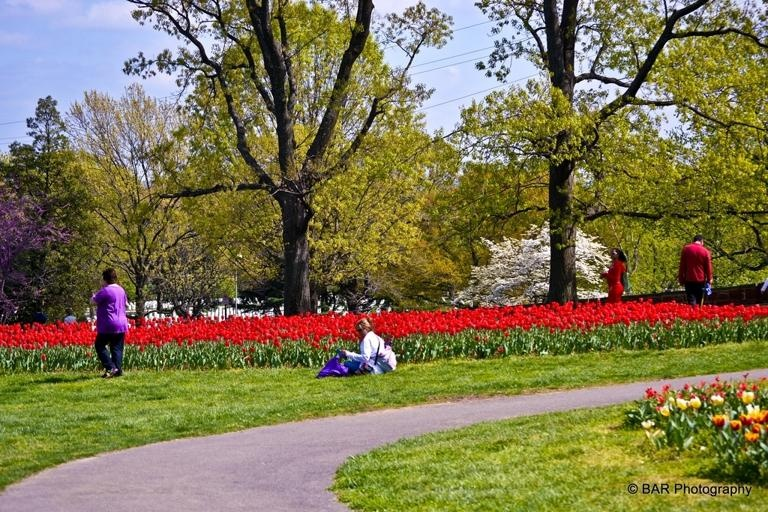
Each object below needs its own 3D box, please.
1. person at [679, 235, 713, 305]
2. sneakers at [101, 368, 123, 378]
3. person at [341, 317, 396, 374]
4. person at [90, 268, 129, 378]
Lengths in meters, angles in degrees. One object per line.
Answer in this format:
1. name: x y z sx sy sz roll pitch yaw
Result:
1. person: 8.810 0.439 27.388 0.838 2.052 1.076 0 9 17
2. sneakers: -6.802 2.935 24.055 0.525 0.239 0.212 -6 -10 25
3. person: -0.393 2.140 23.417 1.283 1.382 0.817 -3 9 -5
4. person: -6.827 1.664 24.047 0.829 2.763 1.049 -5 9 -18
